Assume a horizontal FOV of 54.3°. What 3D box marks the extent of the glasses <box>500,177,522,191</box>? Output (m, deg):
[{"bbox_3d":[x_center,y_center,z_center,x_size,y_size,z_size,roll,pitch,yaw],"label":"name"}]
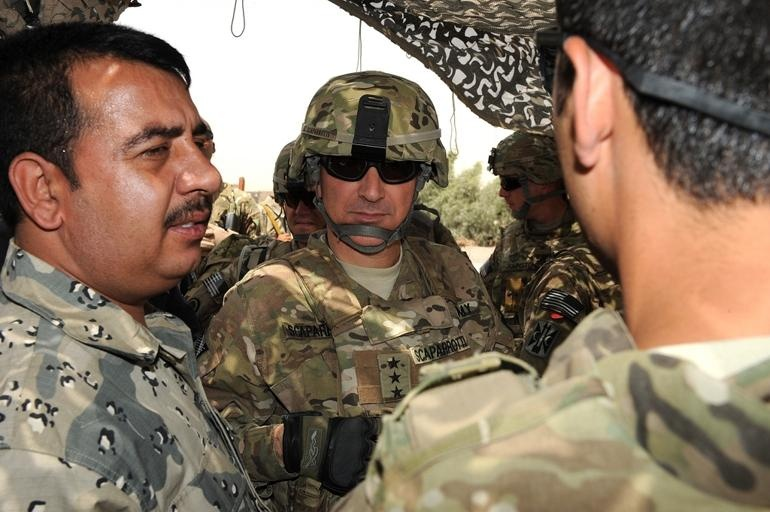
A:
[{"bbox_3d":[1.296,-0.743,7.742,0.142,0.060,0.148,16,10,-3],"label":"glasses"}]
